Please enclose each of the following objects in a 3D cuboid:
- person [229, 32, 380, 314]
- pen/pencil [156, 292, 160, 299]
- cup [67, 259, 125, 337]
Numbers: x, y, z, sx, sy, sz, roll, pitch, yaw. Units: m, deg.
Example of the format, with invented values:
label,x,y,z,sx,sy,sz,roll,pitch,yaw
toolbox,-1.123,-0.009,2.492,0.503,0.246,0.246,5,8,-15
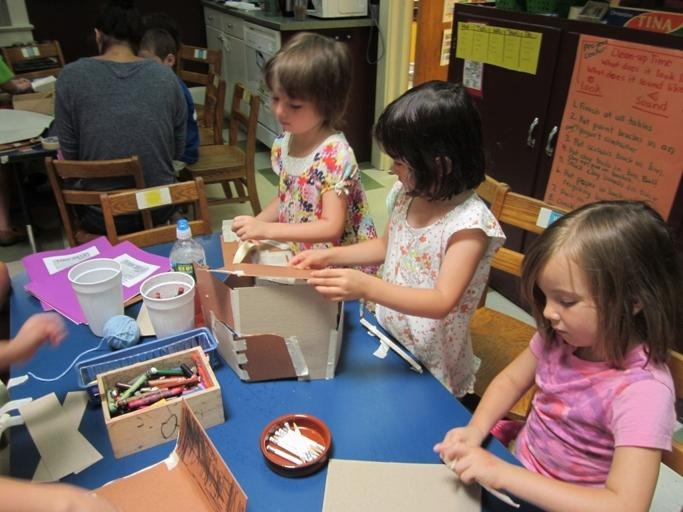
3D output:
label,x,y,z,sx,sy,sz,roll,pitch,yaw
person,-0.130,-0.220,2.048,0.518,1.285,0.563,27,37,36
pen/pencil,-0.529,0.113,1.456,0.014,0.016,0.014,-8,23,-33
cup,-0.736,0.132,1.518,0.125,0.158,0.132,-1,34,1
